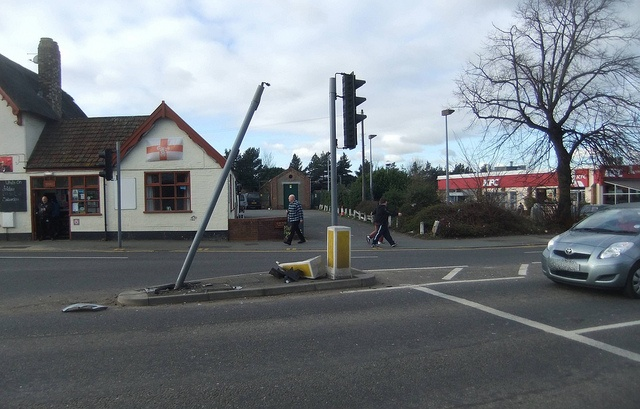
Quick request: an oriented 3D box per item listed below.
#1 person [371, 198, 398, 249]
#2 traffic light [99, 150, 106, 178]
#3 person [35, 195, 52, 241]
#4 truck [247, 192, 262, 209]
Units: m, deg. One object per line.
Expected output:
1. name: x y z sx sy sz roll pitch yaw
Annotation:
1. person: 2.792 0.813 24.563 1.345 2.067 0.876 0 -3 2
2. traffic light: -9.077 -1.716 23.996 0.505 1.008 0.969 -2 -1 -22
3. person: -13.099 0.653 26.873 0.614 1.576 1.495 -2 -1 -27
4. truck: -7.792 -0.397 66.196 1.340 1.726 2.656 -2 -1 28
